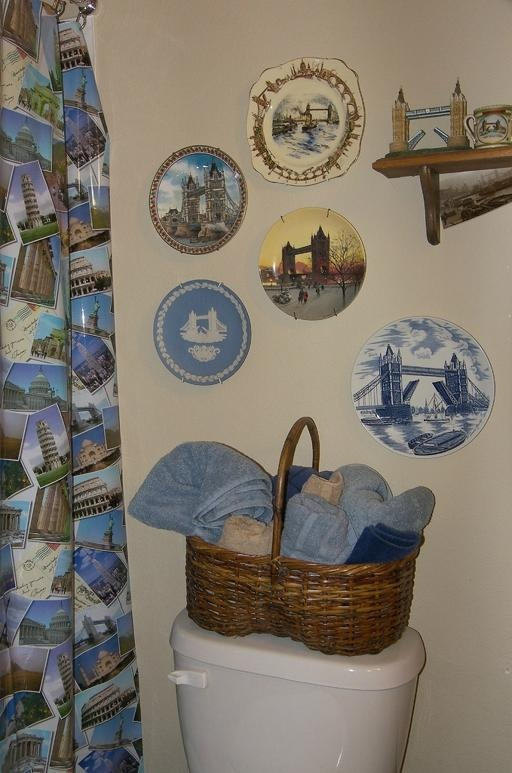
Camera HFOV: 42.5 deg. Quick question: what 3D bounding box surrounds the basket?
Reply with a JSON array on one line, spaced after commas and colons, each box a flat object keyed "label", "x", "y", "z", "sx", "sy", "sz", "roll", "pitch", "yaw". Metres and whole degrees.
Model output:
[{"label": "basket", "x": 0.115, "y": 0.211, "z": 1.036, "sx": 0.350, "sy": 0.314, "sz": 0.274, "roll": 0, "pitch": -2, "yaw": 19}]

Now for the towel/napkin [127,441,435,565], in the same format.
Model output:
[{"label": "towel/napkin", "x": 0.018, "y": 0.170, "z": 0.954, "sx": 0.304, "sy": 0.096, "sz": 0.210, "roll": 8, "pitch": -8, "yaw": 12}]
